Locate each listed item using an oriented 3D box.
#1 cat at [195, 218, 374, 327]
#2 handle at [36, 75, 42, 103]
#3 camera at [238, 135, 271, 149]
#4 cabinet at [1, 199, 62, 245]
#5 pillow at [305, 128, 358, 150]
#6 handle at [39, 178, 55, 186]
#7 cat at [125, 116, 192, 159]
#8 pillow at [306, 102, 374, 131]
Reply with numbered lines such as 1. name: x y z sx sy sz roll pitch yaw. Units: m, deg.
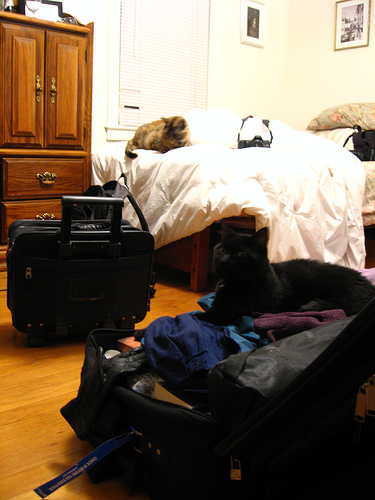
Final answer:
1. cat: 0.270 0.083 1.281 0.613 0.314 0.261 6 -9 -7
2. handle: -0.928 -1.010 2.501 0.016 0.156 0.041 12 19 39
3. camera: 0.419 -0.710 2.645 0.149 0.055 0.114 11 24 34
4. cabinet: -0.768 -0.141 1.911 0.280 0.192 0.141 -7 14 -41
5. pillow: 1.369 -1.065 3.742 0.388 0.112 0.341 -1 16 -17
6. handle: -0.907 -0.444 2.602 0.103 0.051 0.023 -13 19 -40
7. cat: -0.218 -0.826 2.815 0.561 0.250 0.369 1 22 18
8. pillow: 1.533 -1.284 3.876 0.392 0.132 0.439 -11 16 -41
